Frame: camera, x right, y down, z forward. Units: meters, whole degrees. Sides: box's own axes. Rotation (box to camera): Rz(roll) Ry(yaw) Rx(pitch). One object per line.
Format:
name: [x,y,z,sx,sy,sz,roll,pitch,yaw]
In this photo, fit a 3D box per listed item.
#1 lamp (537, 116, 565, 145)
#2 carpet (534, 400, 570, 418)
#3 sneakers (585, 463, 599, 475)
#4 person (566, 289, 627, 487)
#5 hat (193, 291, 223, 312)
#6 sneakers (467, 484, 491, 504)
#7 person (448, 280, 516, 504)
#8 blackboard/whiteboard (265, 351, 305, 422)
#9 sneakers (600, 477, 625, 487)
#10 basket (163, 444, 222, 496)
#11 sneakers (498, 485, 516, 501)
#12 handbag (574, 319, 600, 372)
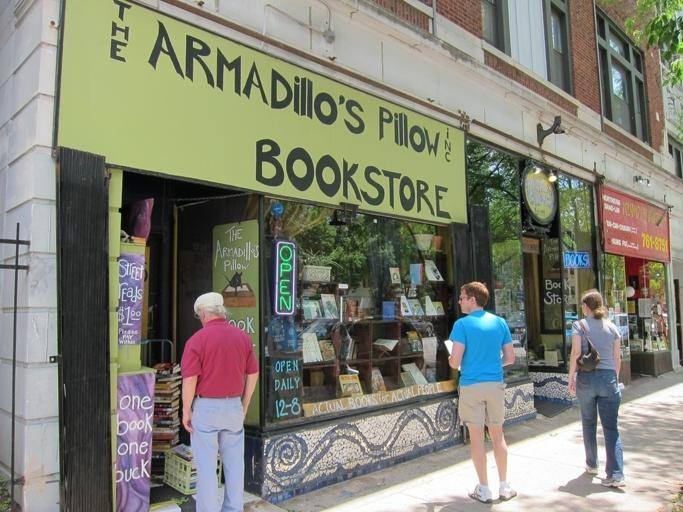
lamp: [3.978,-2.378,12.073,0.375,0.610,0.833,3,4,32]
carpet: [3.752,2.725,11.358,0.592,0.043,1.203,3,4,20]
sneakers: [3.124,2.677,7.986,0.072,0.097,0.202,0,-6,-15]
person: [3.158,1.588,7.835,0.685,2.291,0.522,3,3,26]
hat: [-1.390,0.474,6.672,0.233,0.150,0.188,-2,-3,21]
sneakers: [1.579,2.711,7.311,0.115,0.142,0.295,-2,0,-28]
person: [1.653,1.555,7.450,0.790,2.448,0.604,2,3,11]
blackboard/whiteboard: [-0.710,1.598,7.707,0.096,1.026,0.683,-9,-12,37]
sneakers: [3.238,2.673,7.627,0.238,0.132,0.110,2,-2,26]
basket: [-1.719,2.481,7.510,0.617,0.440,0.621,11,-11,-41]
sneakers: [1.883,2.714,7.291,0.096,0.204,0.253,-5,-7,41]
handbag: [3.007,1.116,7.790,0.201,0.618,0.310,-1,4,-36]
